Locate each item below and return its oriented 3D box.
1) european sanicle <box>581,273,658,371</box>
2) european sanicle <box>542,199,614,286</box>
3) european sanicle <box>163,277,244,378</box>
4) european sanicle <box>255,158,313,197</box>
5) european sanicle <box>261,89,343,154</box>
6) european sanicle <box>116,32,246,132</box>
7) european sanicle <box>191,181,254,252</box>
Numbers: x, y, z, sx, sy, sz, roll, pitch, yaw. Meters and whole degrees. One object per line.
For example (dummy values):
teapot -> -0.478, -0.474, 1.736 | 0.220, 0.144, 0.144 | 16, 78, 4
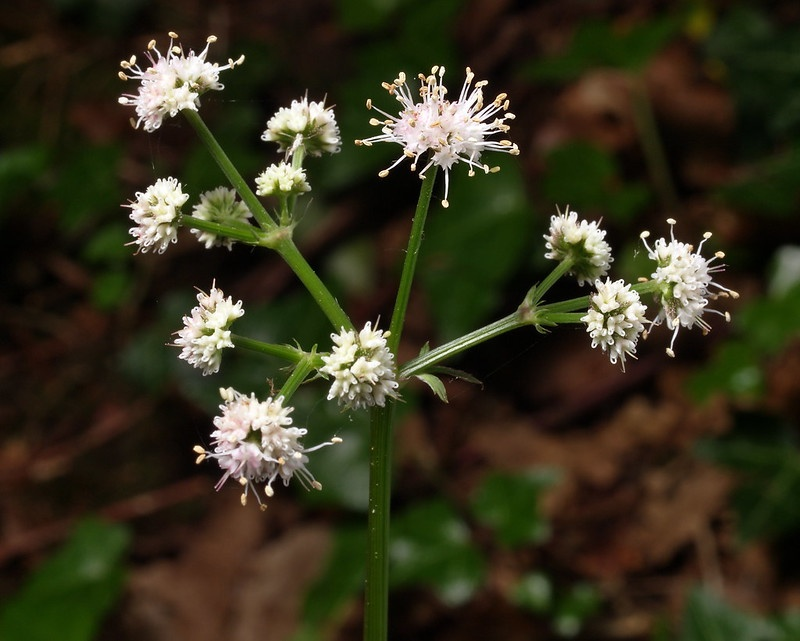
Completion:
european sanicle -> 1.040, 0.000, 3.929 | 0.341, 0.373, 0.398 | -5, 5, -1
european sanicle -> 0.927, -0.393, 4.177 | 0.303, 0.412, 0.281 | -4, 6, 37
european sanicle -> -0.970, 0.011, 4.074 | 0.237, 0.388, 0.455 | 12, 13, -14
european sanicle -> -0.596, -0.737, 4.088 | 0.191, 0.127, 0.200 | -3, 10, -17
european sanicle -> -0.483, -1.025, 4.206 | 0.313, 0.220, 0.336 | 26, 58, 14
european sanicle -> -1.132, -1.239, 4.149 | 0.547, 0.386, 0.428 | -7, 4, 13
european sanicle -> -0.927, -0.558, 4.188 | 0.302, 0.351, 0.134 | 9, -10, -2
